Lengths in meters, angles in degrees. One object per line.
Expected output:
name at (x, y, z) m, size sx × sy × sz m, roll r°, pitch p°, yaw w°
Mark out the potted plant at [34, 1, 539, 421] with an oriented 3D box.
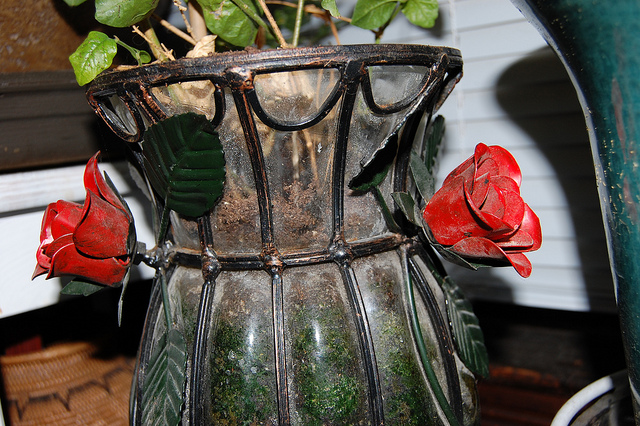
potted plant at (0.017, -0.098, 1.181) m, size 0.666 × 0.695 × 0.839 m, roll -7°, pitch 81°, yaw 21°
